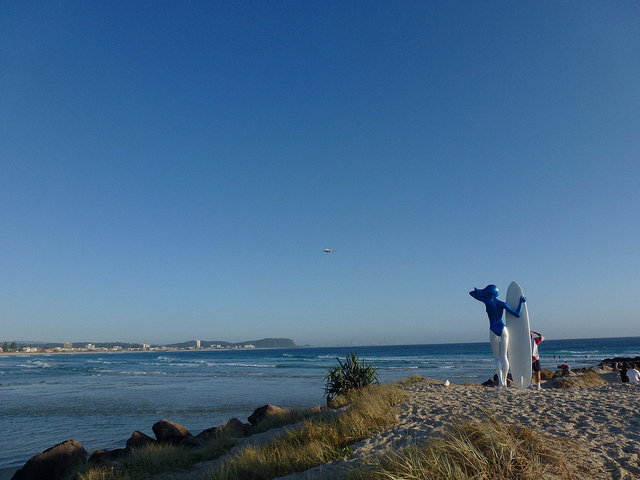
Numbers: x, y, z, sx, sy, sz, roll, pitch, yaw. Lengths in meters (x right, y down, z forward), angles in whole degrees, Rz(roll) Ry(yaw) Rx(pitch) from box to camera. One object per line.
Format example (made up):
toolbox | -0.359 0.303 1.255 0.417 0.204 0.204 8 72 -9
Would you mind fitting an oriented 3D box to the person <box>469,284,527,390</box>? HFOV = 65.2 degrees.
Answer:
person | 5.322 2.844 14.774 1.189 2.943 0.731 3 -15 -18
